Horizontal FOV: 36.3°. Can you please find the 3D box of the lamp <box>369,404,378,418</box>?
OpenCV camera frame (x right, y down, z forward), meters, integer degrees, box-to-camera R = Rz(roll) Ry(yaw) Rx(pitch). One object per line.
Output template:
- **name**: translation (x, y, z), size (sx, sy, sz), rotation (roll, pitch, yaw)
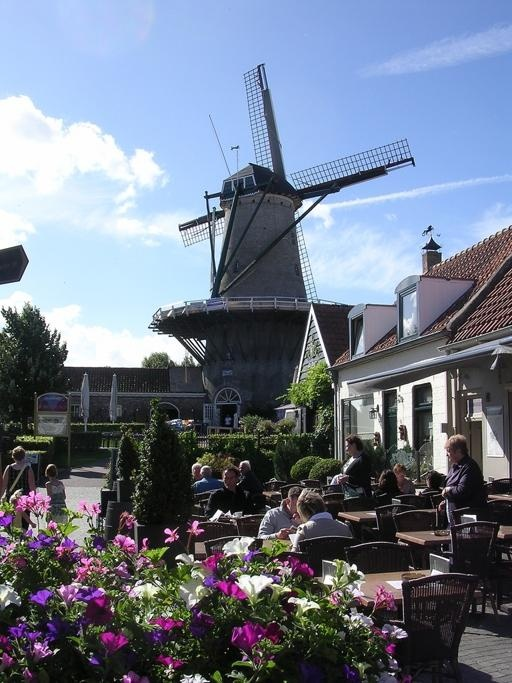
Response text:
- **lamp**: translation (2.815, 1.701, 18.655), size (0.242, 0.326, 0.244), rotation (2, -2, -2)
